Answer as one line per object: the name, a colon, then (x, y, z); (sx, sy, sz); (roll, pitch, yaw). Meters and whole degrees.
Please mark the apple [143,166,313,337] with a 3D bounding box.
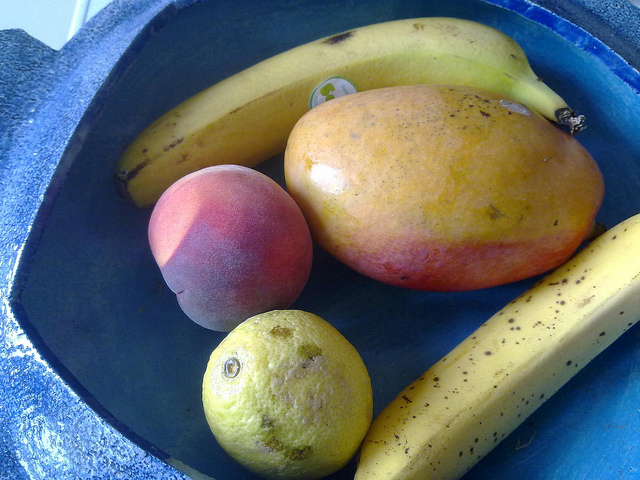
apple: (-0.140, 0.002, 0.998); (0.241, 0.094, 0.241); (-19, 83, -2)
